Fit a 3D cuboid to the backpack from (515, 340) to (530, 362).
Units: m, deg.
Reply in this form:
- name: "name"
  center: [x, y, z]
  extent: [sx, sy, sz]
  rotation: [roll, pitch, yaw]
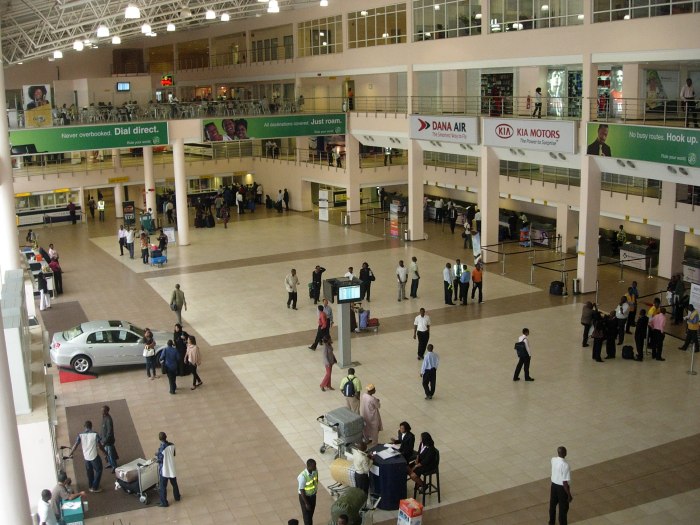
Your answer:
- name: "backpack"
  center: [4.647, 2.379, 17.152]
  extent: [0.353, 0.591, 0.217]
  rotation: [-3, 10, 13]

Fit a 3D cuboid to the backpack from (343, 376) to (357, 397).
- name: "backpack"
  center: [-0.031, 2.820, 14.502]
  extent: [0.308, 0.456, 0.205]
  rotation: [-6, 9, -6]

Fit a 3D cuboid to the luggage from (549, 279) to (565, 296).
- name: "luggage"
  center: [7.998, 0.924, 24.558]
  extent: [0.494, 0.555, 0.487]
  rotation: [5, 17, 19]

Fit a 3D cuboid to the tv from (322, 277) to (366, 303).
- name: "tv"
  center: [-0.262, 0.682, 17.680]
  extent: [0.713, 0.497, 0.744]
  rotation: [-5, 15, -19]

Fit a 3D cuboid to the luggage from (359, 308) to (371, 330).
- name: "luggage"
  center: [0.462, 1.897, 21.161]
  extent: [0.356, 0.694, 0.237]
  rotation: [-8, 10, -16]

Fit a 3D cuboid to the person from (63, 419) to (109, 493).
- name: "person"
  center: [-5.501, 4.067, 13.353]
  extent: [0.693, 1.649, 0.863]
  rotation: [-4, 13, -41]

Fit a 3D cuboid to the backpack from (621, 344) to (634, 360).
- name: "backpack"
  center: [8.234, 2.669, 18.853]
  extent: [0.275, 0.401, 0.216]
  rotation: [7, 23, 32]

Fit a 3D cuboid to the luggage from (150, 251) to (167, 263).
- name: "luggage"
  center: [-8.868, -0.282, 29.299]
  extent: [0.561, 0.611, 0.571]
  rotation: [-9, 15, -32]

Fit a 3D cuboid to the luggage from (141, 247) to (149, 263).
- name: "luggage"
  center: [-9.633, -0.360, 29.729]
  extent: [0.359, 0.662, 0.395]
  rotation: [-12, 34, -20]

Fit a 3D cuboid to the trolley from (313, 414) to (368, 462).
- name: "trolley"
  center: [-0.203, 3.684, 13.748]
  extent: [0.800, 0.918, 0.940]
  rotation: [-10, 12, -36]
